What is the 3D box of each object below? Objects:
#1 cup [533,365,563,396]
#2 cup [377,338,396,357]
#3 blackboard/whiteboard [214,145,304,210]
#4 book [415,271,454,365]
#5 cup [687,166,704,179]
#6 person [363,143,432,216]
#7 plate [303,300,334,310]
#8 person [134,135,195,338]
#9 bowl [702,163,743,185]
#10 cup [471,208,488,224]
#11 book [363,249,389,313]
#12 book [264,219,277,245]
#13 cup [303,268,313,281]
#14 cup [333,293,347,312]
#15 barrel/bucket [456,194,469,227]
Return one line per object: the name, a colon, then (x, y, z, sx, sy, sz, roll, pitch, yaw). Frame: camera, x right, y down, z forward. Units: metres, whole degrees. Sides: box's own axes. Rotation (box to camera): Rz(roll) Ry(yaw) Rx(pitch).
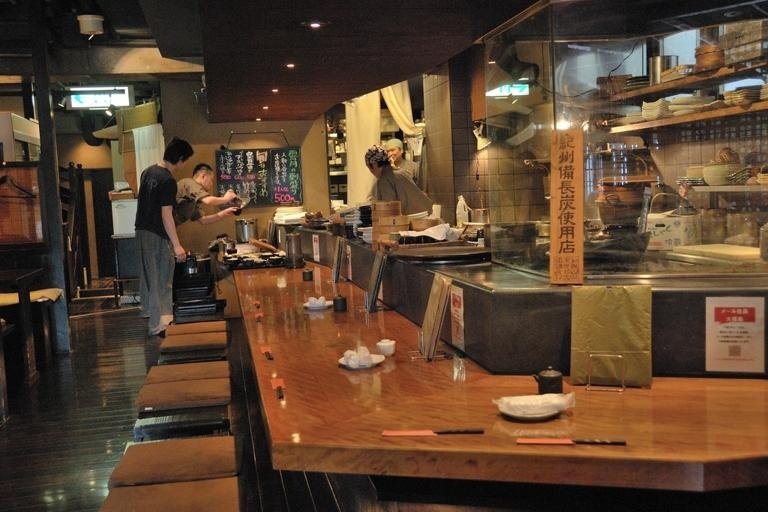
cup: (0.613, 0.463, 2.392, 0.107, 0.081, 0.075, 0, 1, 11)
cup: (0.019, 0.403, 2.825, 0.093, 0.058, 0.095, -3, 11, 1)
blackboard/whiteboard: (-1.710, -1.069, 8.478, 1.212, 0.743, 0.158, 0, 4, -12)
book: (0.232, 0.281, 2.848, 0.056, 0.381, 0.348, 16, 8, -11)
cup: (1.209, -0.323, 2.481, 0.053, 0.033, 0.051, 1, 3, 0)
person: (0.088, -0.661, 5.740, 0.693, 0.673, 0.579, -11, 7, -5)
plate: (-0.379, 0.277, 3.710, 0.167, 0.048, 0.156, -6, 11, -13)
person: (-2.153, -0.141, 6.291, 0.666, 1.978, 0.330, -5, 12, -4)
bowl: (1.306, -0.318, 2.478, 0.105, 0.057, 0.101, -1, 2, 0)
cup: (1.083, -0.454, 7.287, 0.217, 0.203, 0.201, 2, 3, 0)
book: (-0.043, 0.148, 3.684, 0.050, 0.432, 0.353, 13, 3, -6)
book: (-1.342, -0.278, 7.577, 0.108, 0.265, 0.515, -6, 11, -10)
cup: (-0.566, 0.136, 4.723, 0.086, 0.085, 0.083, 0, 5, 0)
cup: (-0.246, 0.273, 3.616, 0.089, 0.086, 0.083, -1, 5, 0)
barrel/bucket: (0.888, -0.519, 7.243, 0.164, 0.319, 0.414, -3, 11, 7)
